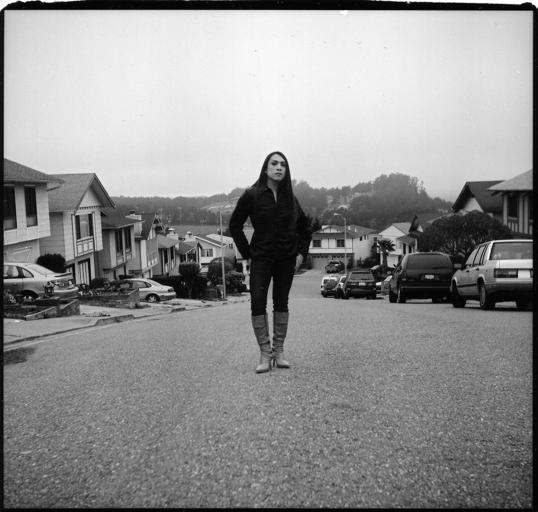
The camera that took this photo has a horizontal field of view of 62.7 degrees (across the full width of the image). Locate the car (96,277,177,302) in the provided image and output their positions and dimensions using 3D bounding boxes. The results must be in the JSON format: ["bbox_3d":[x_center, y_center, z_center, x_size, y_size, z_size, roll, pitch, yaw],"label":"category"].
[{"bbox_3d":[-7.667,2.015,26.807,4.815,1.441,3.699,-5,-3,38],"label":"car"}]

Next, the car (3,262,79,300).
[{"bbox_3d":[-8.556,0.909,16.069,2.458,1.127,1.246,3,-6,1],"label":"car"}]

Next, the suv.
[{"bbox_3d":[5.439,0.568,12.661,1.579,1.745,6.266,-2,-3,-6],"label":"suv"}]

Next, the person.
[{"bbox_3d":[0.002,0.058,4.388,0.799,2.101,0.460,-2,-2,4],"label":"person"}]
